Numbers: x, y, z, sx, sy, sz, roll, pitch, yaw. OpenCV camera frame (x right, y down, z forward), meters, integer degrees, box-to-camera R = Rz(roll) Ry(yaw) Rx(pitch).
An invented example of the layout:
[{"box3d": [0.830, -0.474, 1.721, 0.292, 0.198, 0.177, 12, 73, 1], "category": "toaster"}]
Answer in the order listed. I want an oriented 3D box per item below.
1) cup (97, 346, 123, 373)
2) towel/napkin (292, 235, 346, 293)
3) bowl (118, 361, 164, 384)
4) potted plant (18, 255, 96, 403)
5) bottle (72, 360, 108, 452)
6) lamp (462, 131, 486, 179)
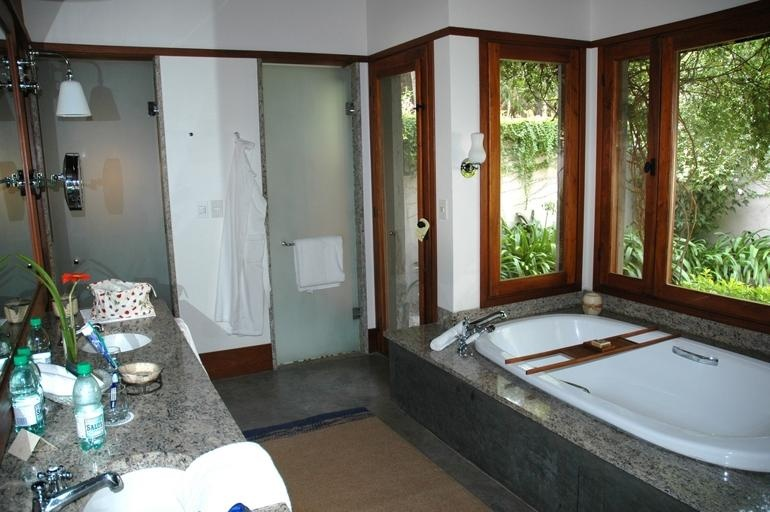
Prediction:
[{"box3d": [-1.381, 0.520, 2.516, 0.108, 0.105, 0.109, 13, 5, -1], "category": "cup"}, {"box3d": [-0.617, 0.074, 4.622, 0.473, 0.487, 0.146, -3, 0, -18], "category": "towel/napkin"}, {"box3d": [-1.207, 0.570, 2.472, 0.124, 0.049, 0.124, 0, 16, 0], "category": "bowl"}, {"box3d": [-1.684, 0.380, 2.573, 0.394, 0.757, 0.244, 4, 18, -16], "category": "potted plant"}, {"box3d": [-1.191, 0.594, 2.012, 0.105, 0.336, 0.127, -12, 15, -34], "category": "bottle"}, {"box3d": [0.680, -0.762, 3.775, 0.224, 0.329, 0.158, -5, 12, -9], "category": "lamp"}]
